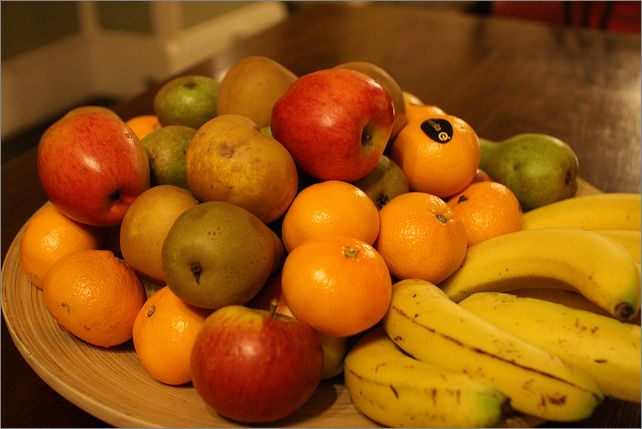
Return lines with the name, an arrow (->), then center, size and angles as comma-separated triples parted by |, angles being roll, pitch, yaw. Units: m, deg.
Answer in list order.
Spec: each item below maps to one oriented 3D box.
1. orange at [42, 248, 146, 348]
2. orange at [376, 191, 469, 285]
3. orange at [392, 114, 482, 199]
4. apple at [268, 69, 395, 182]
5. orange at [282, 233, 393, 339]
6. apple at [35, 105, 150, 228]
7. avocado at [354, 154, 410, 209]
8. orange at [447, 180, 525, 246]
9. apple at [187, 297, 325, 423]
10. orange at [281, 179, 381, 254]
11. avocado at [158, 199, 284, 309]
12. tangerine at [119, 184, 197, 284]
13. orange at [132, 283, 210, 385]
orange -> -0.415, 0.126, 1.152 | 0.195, 0.172, 0.237 | -15, 29, -25
orange -> 0.175, 0.045, 1.139 | 0.160, 0.125, 0.165 | -3, 66, -36
orange -> 0.252, -0.129, 1.240 | 0.154, 0.173, 0.157 | -3, 17, 5
apple -> 0.021, -0.178, 1.119 | 0.239, 0.169, 0.199 | 12, 51, 6
orange -> 0.031, 0.126, 1.081 | 0.189, 0.165, 0.206 | -4, 22, -10
apple -> -0.463, -0.122, 1.180 | 0.213, 0.208, 0.247 | 17, 32, 38
avocado -> 0.129, -0.060, 1.200 | 0.098, 0.109, 0.101 | 7, 30, 16
orange -> 0.335, 0.003, 1.224 | 0.132, 0.137, 0.130 | 20, 36, -18
apple -> -0.108, 0.228, 1.040 | 0.205, 0.186, 0.228 | -17, 27, -34
orange -> 0.032, -0.024, 1.094 | 0.173, 0.124, 0.214 | 2, 22, 17
avocado -> -0.184, 0.074, 1.013 | 0.193, 0.114, 0.149 | 9, 51, 3
tangerine -> -0.313, 0.038, 1.149 | 0.157, 0.161, 0.165 | -31, 56, 11
orange -> -0.276, 0.222, 1.116 | 0.174, 0.154, 0.163 | -12, 21, -20
